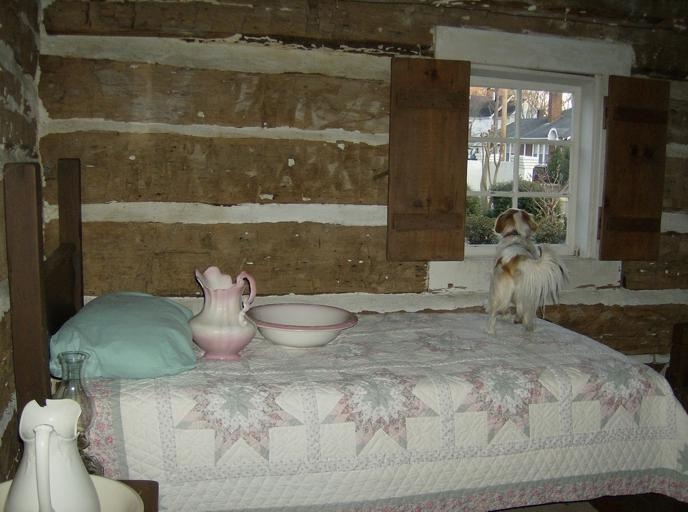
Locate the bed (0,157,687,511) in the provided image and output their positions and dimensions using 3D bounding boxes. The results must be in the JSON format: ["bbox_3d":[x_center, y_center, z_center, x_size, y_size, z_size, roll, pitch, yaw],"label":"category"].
[{"bbox_3d":[-0.077,0.306,2.587,1.848,1.536,0.682,-1,8,-11],"label":"bed"}]

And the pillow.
[{"bbox_3d":[-0.828,0.314,2.256,0.414,0.098,0.333,5,26,-16],"label":"pillow"}]
